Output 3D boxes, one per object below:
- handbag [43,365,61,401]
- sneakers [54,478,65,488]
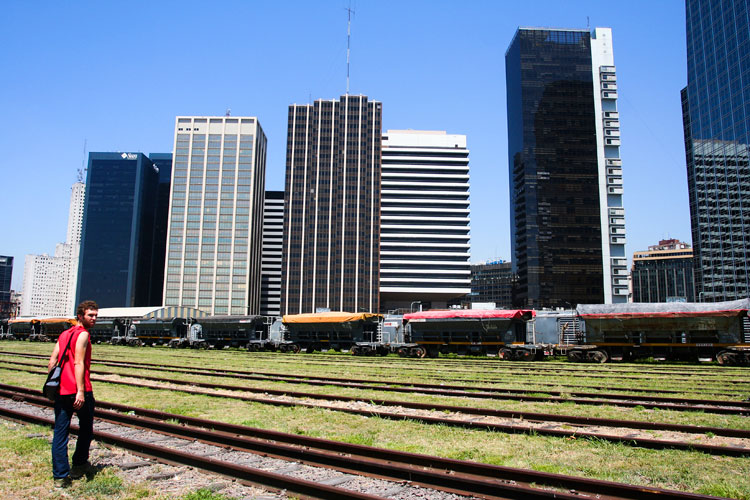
[{"bbox_3d":[-7.753,3.174,15.365,0.371,0.818,0.232,-2,-7,14],"label":"handbag"},{"bbox_3d":[-7.533,5.605,15.466,0.272,0.164,0.251,-1,-9,-1],"label":"sneakers"}]
